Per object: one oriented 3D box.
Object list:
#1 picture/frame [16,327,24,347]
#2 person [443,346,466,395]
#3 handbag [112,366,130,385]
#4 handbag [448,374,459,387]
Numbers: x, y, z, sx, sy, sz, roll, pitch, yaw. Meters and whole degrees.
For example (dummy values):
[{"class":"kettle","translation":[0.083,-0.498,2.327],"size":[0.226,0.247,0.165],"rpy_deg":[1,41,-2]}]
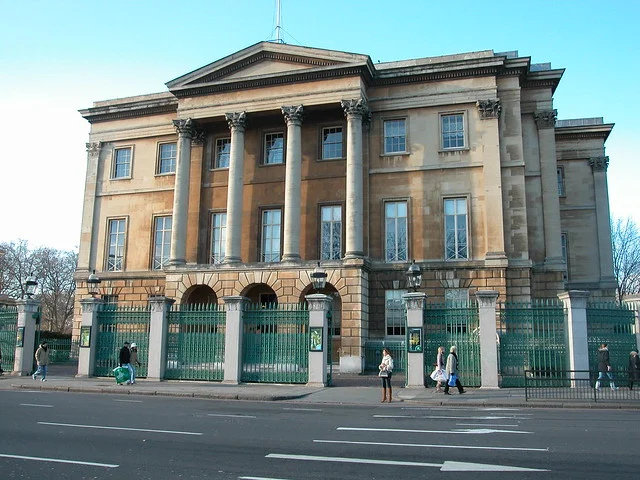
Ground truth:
[{"class":"picture/frame","translation":[-15.540,4.976,30.954],"size":[0.741,1.044,0.278],"rpy_deg":[-10,-16,40]},{"class":"person","translation":[5.341,5.173,24.014],"size":[0.736,1.859,0.994],"rpy_deg":[-2,-12,11]},{"class":"handbag","translation":[-8.894,6.028,26.856],"size":[0.724,0.811,0.606],"rpy_deg":[4,-13,-18]},{"class":"handbag","translation":[5.276,5.477,23.609],"size":[0.376,0.434,0.305],"rpy_deg":[11,-16,-42]}]
